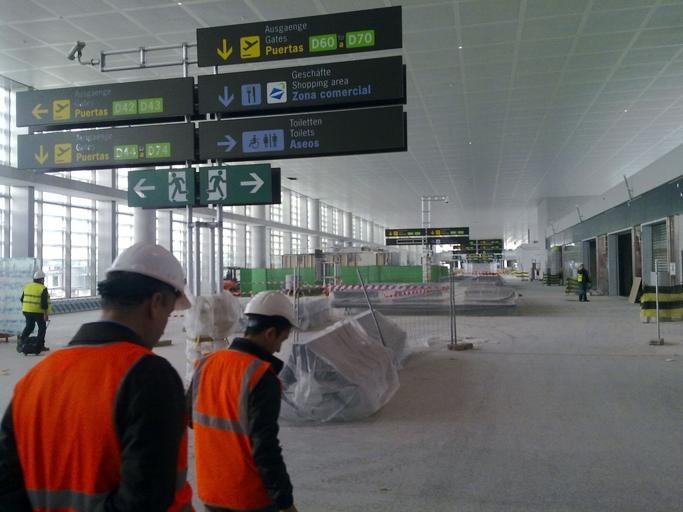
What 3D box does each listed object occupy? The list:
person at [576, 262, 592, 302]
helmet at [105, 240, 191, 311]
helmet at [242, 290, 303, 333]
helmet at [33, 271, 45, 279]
[{"bbox_3d":[9.070,0.998,21.064,0.339,1.442,1.677,1,3,24],"label":"person"},{"bbox_3d":[-1.064,0.063,3.251,0.442,0.246,0.333,30,-16,-34],"label":"helmet"},{"bbox_3d":[-0.469,0.383,4.040,0.242,0.205,0.361,1,-2,36],"label":"helmet"},{"bbox_3d":[-6.230,0.403,11.554,0.209,0.122,0.295,-2,-2,-28],"label":"helmet"}]
